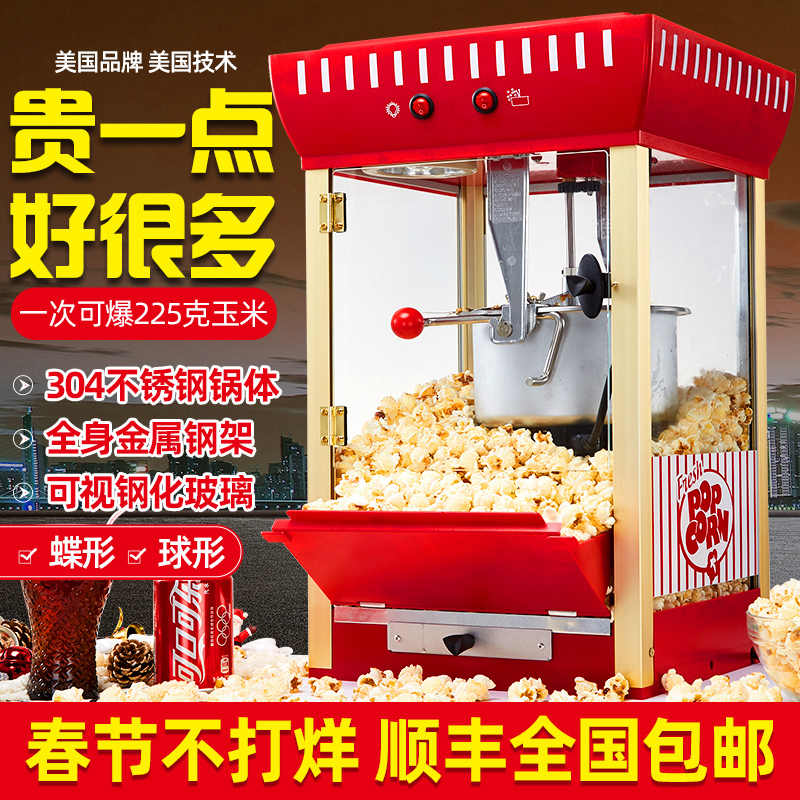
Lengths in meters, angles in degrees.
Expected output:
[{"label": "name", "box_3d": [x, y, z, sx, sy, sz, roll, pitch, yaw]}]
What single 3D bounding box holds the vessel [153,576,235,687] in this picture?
[{"label": "vessel", "box_3d": [-0.311, 0.329, 1.525, 0.109, 0.201, 0.109, -2, 15, -21]}]
